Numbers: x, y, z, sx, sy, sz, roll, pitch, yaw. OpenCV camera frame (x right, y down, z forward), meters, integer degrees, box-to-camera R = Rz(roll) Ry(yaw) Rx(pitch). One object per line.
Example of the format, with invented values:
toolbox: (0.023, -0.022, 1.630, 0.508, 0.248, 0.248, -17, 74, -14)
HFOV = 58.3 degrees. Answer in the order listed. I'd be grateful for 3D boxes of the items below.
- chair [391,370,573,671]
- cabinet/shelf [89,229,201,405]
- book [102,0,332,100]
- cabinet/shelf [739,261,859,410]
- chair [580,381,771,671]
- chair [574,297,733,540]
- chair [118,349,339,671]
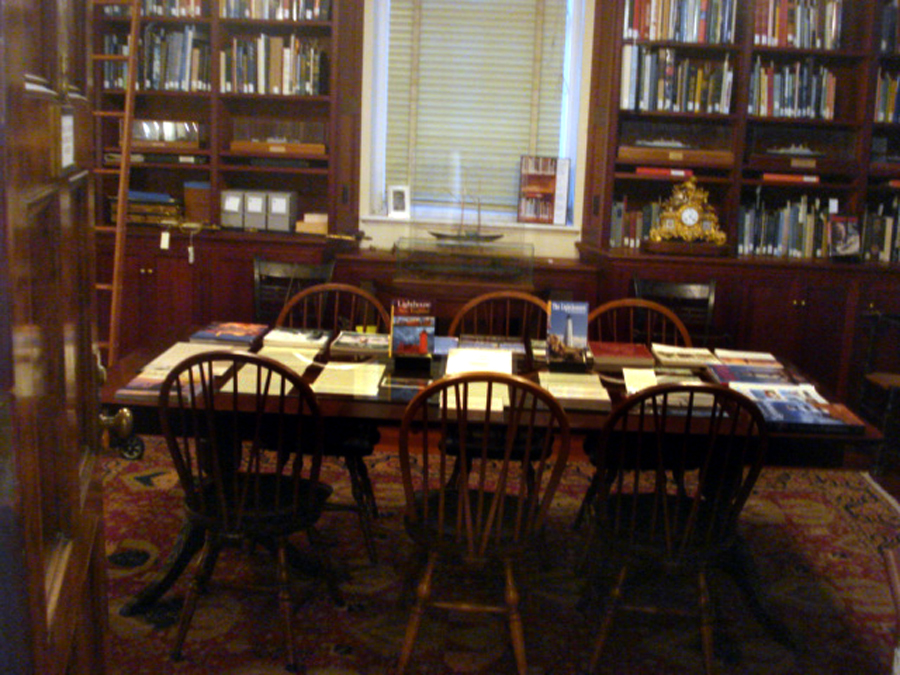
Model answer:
chair: (0.108, 0.424, 2.603, 0.522, 0.873, 1.122, 0, 11, 1)
cabinet/shelf: (-1.261, -0.141, 3.381, 0.600, 0.642, 0.236, 1, 11, -1)
book: (-1.288, -1.577, 4.449, 1.271, 0.507, 0.293, 1, 10, 4)
cabinet/shelf: (1.601, -0.060, 3.733, 0.638, 0.675, 0.258, 1, 7, 0)
chair: (0.667, 0.489, 2.569, 0.495, 0.934, 0.930, 2, 10, 10)
chair: (1.035, 0.224, 3.786, 0.708, 1.183, 0.770, 1, 6, 0)
chair: (-0.655, 0.530, 2.429, 0.560, 1.136, 0.569, 4, 20, -1)
